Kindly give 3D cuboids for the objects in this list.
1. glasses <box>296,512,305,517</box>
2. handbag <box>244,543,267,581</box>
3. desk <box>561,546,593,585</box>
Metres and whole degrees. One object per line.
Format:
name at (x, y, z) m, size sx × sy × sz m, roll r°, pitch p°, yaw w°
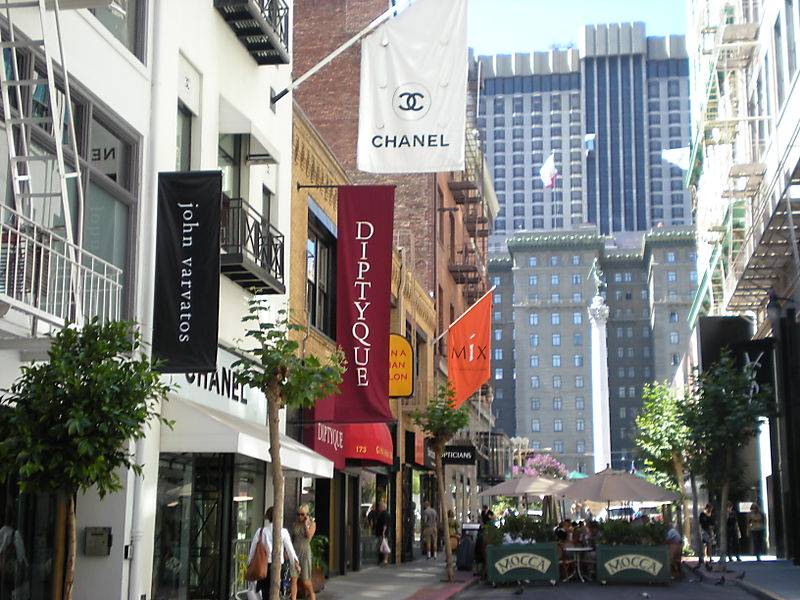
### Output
glasses at (-1.951, 4.185, 20.639) m, size 0.096 × 0.046 × 0.126 m, roll 0°, pitch -14°, yaw 23°
handbag at (-2.454, 4.443, 18.130) m, size 0.381 × 0.633 × 0.463 m, roll -1°, pitch -14°, yaw -14°
desk at (5.259, 7.992, 31.219) m, size 1.158 × 1.316 × 1.283 m, roll -1°, pitch -10°, yaw 4°
